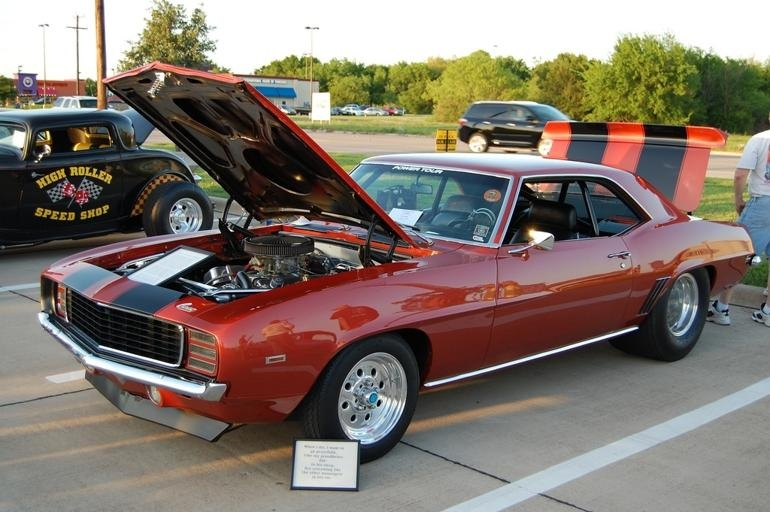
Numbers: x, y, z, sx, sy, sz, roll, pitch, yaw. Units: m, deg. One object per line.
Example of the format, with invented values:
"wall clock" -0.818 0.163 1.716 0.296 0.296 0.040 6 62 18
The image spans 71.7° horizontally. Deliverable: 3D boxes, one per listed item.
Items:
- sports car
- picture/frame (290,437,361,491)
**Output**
"sports car" 0.739 -0.187 5.137 6.688 2.757 2.701 -6 16 -31
"picture/frame" -0.390 1.358 3.459 0.422 0.322 0.130 2 17 -1
